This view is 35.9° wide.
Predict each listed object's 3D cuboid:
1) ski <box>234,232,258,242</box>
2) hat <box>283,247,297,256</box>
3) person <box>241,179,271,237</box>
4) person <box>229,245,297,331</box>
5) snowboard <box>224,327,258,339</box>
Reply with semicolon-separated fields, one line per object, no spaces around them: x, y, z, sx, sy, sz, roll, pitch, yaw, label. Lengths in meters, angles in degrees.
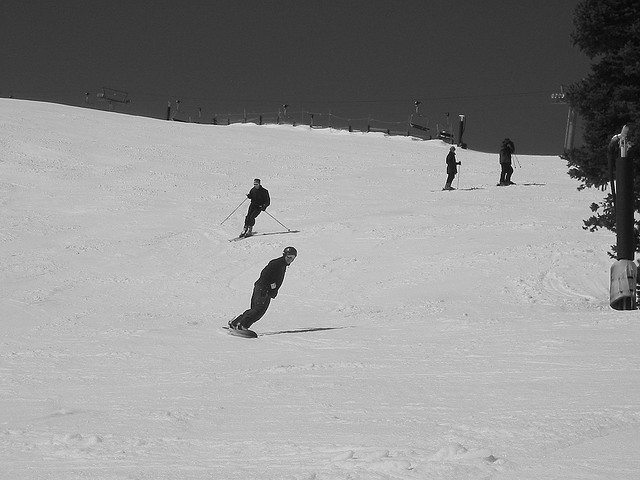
-2.234;-0.096;30.286;0.191;0.075;1.292;23;16;21;ski
-0.576;0.216;18.979;0.220;0.144;0.148;-12;0;-5;hat
-1.976;-0.982;30.768;0.744;1.621;1.304;7;-2;-4;person
-1.111;0.954;19.195;1.031;1.479;0.783;6;-2;-6;person
-1.535;1.790;18.875;0.710;0.157;0.135;3;-24;32;snowboard
